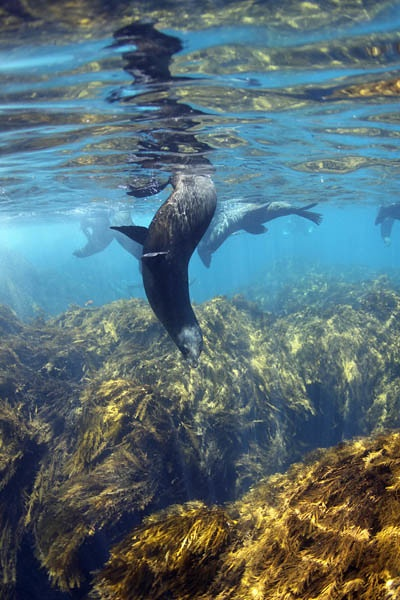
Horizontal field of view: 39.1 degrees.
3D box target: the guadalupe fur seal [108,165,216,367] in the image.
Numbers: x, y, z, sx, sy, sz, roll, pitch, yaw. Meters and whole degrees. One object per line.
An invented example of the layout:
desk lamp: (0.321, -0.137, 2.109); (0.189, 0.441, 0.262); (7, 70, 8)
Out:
guadalupe fur seal: (-0.306, -0.700, 6.852); (0.800, 2.087, 1.543); (-8, -22, 9)
